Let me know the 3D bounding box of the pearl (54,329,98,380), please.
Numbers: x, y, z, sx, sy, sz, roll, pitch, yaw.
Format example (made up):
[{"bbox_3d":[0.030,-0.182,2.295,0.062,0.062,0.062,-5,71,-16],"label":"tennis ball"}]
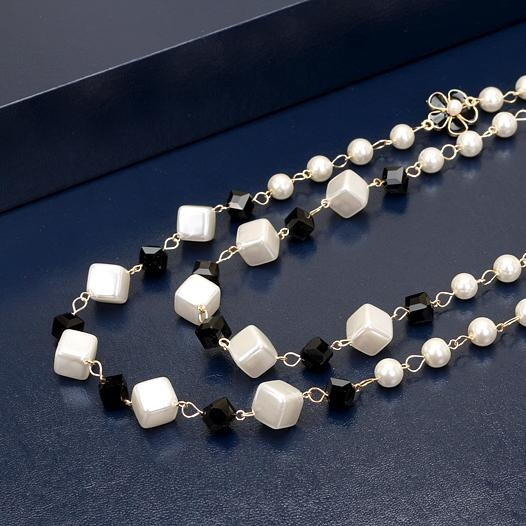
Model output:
[{"bbox_3d":[-0.358,0.173,1.242,0.077,0.078,0.085,11,43,5],"label":"pearl"}]

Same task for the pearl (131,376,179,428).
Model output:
[{"bbox_3d":[-0.193,0.249,1.118,0.075,0.072,0.083,-11,48,-13],"label":"pearl"}]

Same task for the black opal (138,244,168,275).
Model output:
[{"bbox_3d":[-0.230,-0.004,1.320,0.055,0.063,0.055,4,7,10],"label":"black opal"}]

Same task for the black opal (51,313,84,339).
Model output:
[{"bbox_3d":[-0.386,0.120,1.246,0.051,0.052,0.052,32,40,27],"label":"black opal"}]

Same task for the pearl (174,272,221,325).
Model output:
[{"bbox_3d":[-0.135,0.079,1.306,0.087,0.082,0.091,26,49,24],"label":"pearl"}]

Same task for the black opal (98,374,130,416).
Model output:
[{"bbox_3d":[-0.276,0.229,1.146,0.045,0.065,0.047,6,68,-12],"label":"black opal"}]
